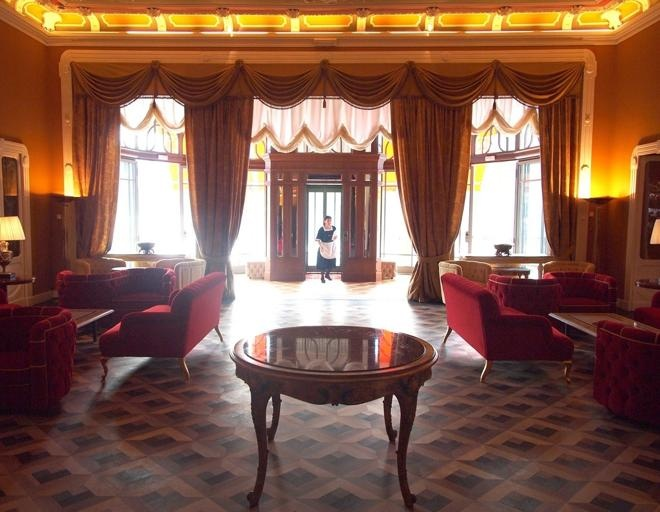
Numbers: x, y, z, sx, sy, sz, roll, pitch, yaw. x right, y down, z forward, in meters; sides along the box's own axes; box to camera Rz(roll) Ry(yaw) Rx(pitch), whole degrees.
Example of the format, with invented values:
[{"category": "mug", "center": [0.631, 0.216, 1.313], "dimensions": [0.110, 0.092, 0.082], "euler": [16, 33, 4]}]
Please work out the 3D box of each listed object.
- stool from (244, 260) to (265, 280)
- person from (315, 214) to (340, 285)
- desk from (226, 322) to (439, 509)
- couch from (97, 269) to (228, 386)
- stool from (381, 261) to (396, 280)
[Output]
[{"category": "stool", "center": [-1.804, 0.338, 13.201], "dimensions": [0.410, 0.401, 0.431], "euler": [0, 6, -2]}, {"category": "person", "center": [-0.089, -0.160, 12.529], "dimensions": [0.470, 1.534, 0.929], "euler": [0, 10, 0]}, {"category": "desk", "center": [0.065, 1.303, 4.872], "dimensions": [1.404, 1.059, 1.385], "euler": [0, 2, 2]}, {"category": "couch", "center": [-2.020, 0.441, 6.505], "dimensions": [1.013, 1.072, 1.873], "euler": [2, 3, 4]}, {"category": "stool", "center": [1.411, 0.340, 12.985], "dimensions": [0.378, 0.364, 0.397], "euler": [0, 1, -1]}]
